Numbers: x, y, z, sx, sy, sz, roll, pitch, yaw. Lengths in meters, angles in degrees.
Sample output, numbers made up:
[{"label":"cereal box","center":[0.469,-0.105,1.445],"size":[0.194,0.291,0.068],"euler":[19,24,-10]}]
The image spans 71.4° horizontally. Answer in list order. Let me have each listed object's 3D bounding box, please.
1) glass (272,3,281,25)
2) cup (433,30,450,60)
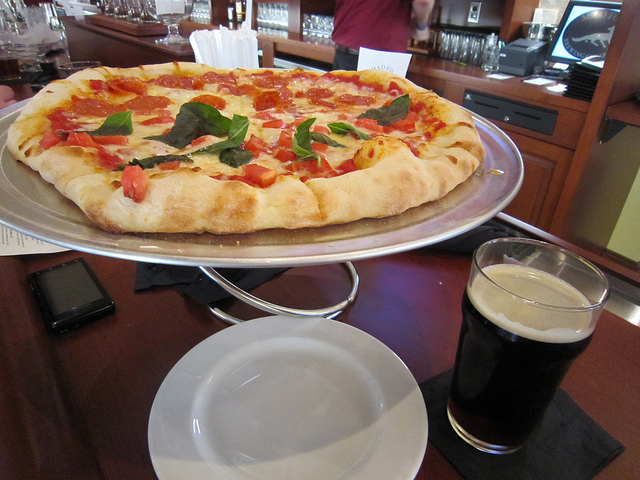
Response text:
[{"label":"glass","center":[-0.716,-3.672,7.159],"size":[0.134,0.295,0.280],"euler":[-1,35,-5]},{"label":"cup","center":[1.443,-2.285,5.154],"size":[0.158,0.366,0.148],"euler":[7,7,-1]}]
